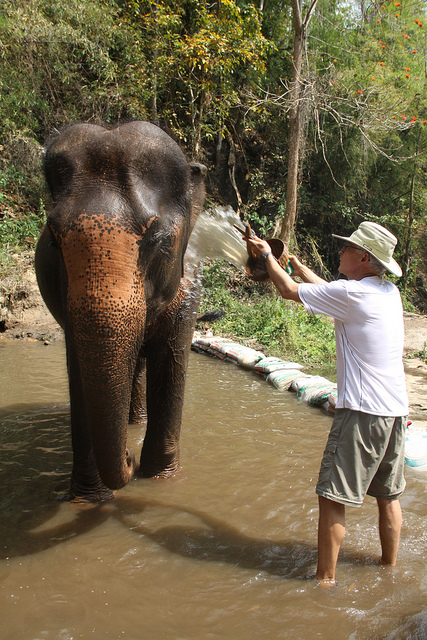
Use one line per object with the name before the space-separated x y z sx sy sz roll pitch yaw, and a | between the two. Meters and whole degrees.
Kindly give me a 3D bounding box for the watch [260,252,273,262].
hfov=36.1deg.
watch | 0.228 -0.277 2.899 0.047 0.032 0.046 13 -42 -32
